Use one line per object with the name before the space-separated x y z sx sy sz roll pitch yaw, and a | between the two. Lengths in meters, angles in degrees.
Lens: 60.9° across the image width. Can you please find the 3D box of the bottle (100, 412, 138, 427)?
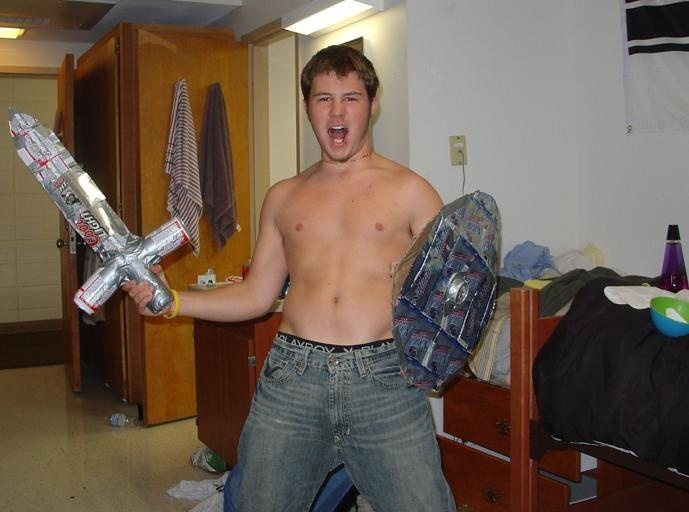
bottle | -1.409 1.024 3.681 0.176 0.071 0.101 9 -1 9

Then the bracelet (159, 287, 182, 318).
bracelet | -0.524 0.143 1.763 0.026 0.078 0.066 7 31 -12
